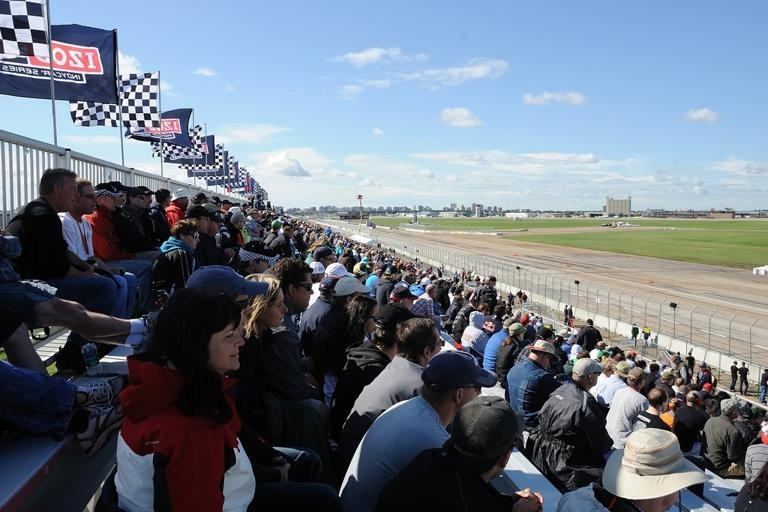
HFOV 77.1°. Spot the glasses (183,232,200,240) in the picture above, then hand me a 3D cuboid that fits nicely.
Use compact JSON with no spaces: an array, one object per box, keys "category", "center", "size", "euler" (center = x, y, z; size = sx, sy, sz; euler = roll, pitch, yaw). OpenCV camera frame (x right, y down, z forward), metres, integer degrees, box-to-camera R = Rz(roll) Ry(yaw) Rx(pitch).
[{"category":"glasses","center":[-2.498,-0.250,6.237],"size":[0.219,0.062,0.206],"euler":[-1,5,2]}]

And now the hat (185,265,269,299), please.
[{"category":"hat","center":[-1.253,0.220,3.999],"size":[0.489,0.158,0.291],"euler":[4,3,-24]}]

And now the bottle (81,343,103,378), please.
[{"category":"bottle","center":[-2.624,0.958,4.427],"size":[0.181,0.287,0.124],"euler":[2,12,33]}]
